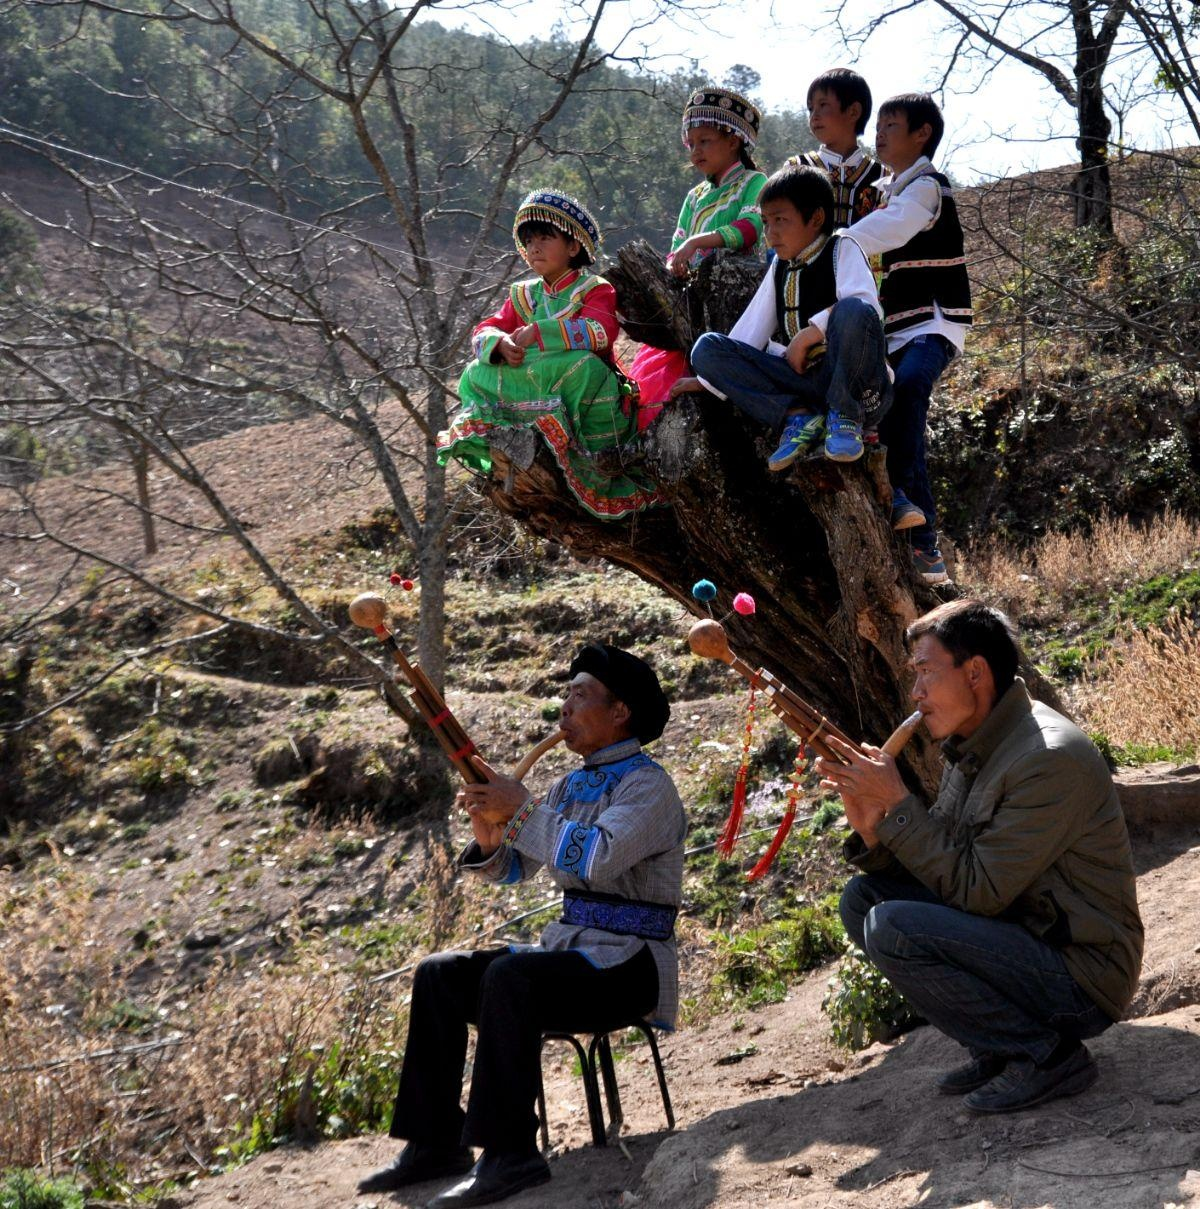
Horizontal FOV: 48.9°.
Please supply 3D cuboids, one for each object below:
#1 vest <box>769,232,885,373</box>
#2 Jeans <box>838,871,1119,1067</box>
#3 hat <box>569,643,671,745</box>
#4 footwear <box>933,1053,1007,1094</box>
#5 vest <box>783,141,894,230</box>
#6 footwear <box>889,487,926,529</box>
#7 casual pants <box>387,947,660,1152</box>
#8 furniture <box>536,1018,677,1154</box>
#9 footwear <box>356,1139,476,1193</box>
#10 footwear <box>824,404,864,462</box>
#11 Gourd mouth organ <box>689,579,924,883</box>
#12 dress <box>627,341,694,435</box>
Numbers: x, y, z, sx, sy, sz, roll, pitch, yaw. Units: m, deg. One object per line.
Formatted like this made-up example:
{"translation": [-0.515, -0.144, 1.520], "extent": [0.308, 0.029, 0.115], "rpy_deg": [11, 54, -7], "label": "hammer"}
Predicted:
{"translation": [0.853, -1.247, 5.340], "extent": [0.549, 0.457, 0.306], "rpy_deg": [5, 15, 42], "label": "vest"}
{"translation": [1.216, 1.127, 4.156], "extent": [0.953, 0.443, 0.787], "rpy_deg": [14, -4, 9], "label": "Jeans"}
{"translation": [0.098, 0.293, 4.844], "extent": [0.408, 0.166, 0.327], "rpy_deg": [34, 4, -21], "label": "hat"}
{"translation": [1.157, 1.467, 4.186], "extent": [0.267, 0.146, 0.088], "rpy_deg": [-12, 21, 27], "label": "footwear"}
{"translation": [1.119, -1.833, 5.861], "extent": [0.420, 0.381, 0.225], "rpy_deg": [14, 40, 34], "label": "vest"}
{"translation": [1.194, -0.373, 5.179], "extent": [0.090, 0.102, 0.245], "rpy_deg": [-11, -23, 3], "label": "footwear"}
{"translation": [-0.274, 1.544, 4.638], "extent": [0.881, 0.623, 0.697], "rpy_deg": [9, -18, -27], "label": "casual pants"}
{"translation": [0.000, 1.751, 4.886], "extent": [0.473, 0.398, 0.372], "rpy_deg": [1, -17, -31], "label": "furniture"}
{"translation": [-0.631, 1.935, 4.601], "extent": [0.460, 0.165, 0.143], "rpy_deg": [-5, -8, -7], "label": "footwear"}
{"translation": [0.890, -0.637, 4.885], "extent": [0.153, 0.155, 0.137], "rpy_deg": [-16, -8, 11], "label": "footwear"}
{"translation": [0.602, 0.390, 4.192], "extent": [0.267, 0.607, 1.048], "rpy_deg": [-6, 32, -27], "label": "Gourd mouth organ"}
{"translation": [0.220, -1.004, 5.821], "extent": [0.365, 0.104, 0.271], "rpy_deg": [-27, -16, -15], "label": "dress"}
